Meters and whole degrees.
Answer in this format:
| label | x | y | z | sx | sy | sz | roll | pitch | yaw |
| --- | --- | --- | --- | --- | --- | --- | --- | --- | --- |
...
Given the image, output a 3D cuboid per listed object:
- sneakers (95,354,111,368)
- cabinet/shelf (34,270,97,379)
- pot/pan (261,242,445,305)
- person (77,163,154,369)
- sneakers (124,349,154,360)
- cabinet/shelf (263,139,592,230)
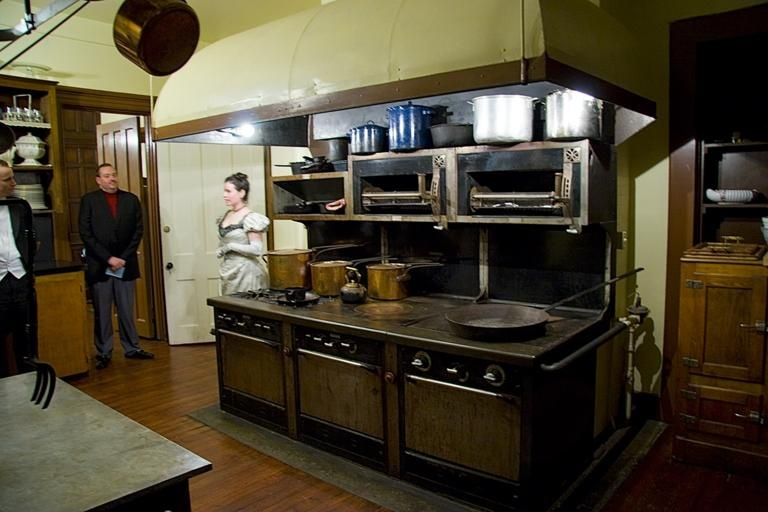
| label | x | y | z | sx | sy | sz | roll | pitch | yaw |
| --- | --- | --- | --- | --- | --- | --- | --- | --- | --- |
| sneakers | -2.834 | 1.039 | 5.862 | 0.116 | 0.123 | 0.184 | -1 | 12 | -4 |
| cabinet/shelf | -2.975 | 0.649 | 5.399 | 0.459 | 1.015 | 0.189 | -8 | 15 | -31 |
| pot/pan | -0.169 | 0.160 | 4.497 | 0.986 | 0.259 | 0.572 | 2 | 6 | 32 |
| person | -2.717 | 0.082 | 5.897 | 0.583 | 2.003 | 0.533 | -6 | 14 | -23 |
| sneakers | -2.559 | 1.021 | 6.116 | 0.339 | 0.110 | 0.115 | 0 | 6 | 4 |
| cabinet/shelf | 0.324 | -0.521 | 4.229 | 2.331 | 0.643 | 0.475 | 6 | 14 | 28 |
